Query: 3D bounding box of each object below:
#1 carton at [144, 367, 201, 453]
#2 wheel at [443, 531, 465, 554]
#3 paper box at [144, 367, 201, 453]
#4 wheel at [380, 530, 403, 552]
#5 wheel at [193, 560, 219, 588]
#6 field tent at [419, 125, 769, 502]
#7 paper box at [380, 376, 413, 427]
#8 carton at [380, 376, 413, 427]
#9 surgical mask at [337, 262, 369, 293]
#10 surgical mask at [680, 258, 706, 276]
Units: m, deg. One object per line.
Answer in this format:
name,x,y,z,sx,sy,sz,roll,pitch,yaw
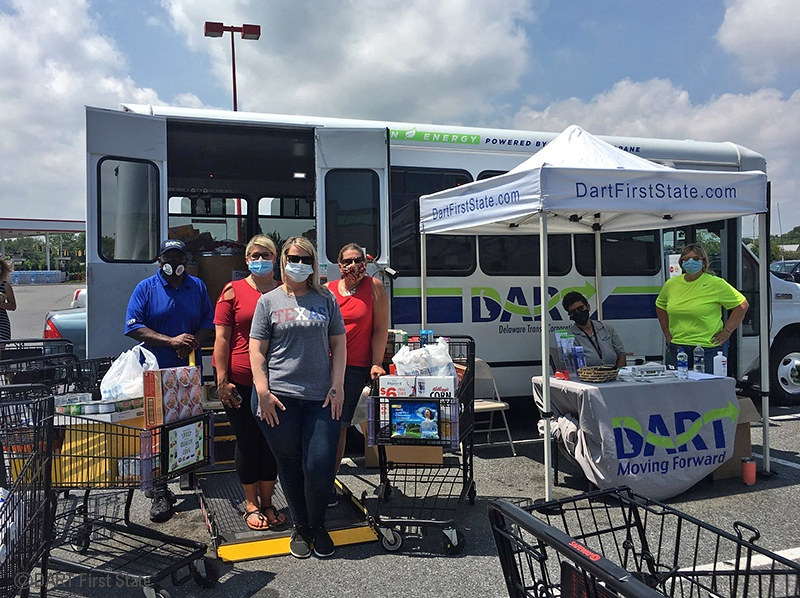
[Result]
carton,-1.668,0.832,4.952,0.194,0.533,0.578,-4,-3,25
wheel,0.437,1.948,5.474,0.181,0.199,0.099,-2,2,-8
paper box,-1.668,0.832,4.952,0.194,0.533,0.578,-4,-3,25
wheel,-0.075,1.942,5.470,0.154,0.170,0.068,0,-6,-4
wheel,-1.439,2.023,5.013,0.140,0.217,0.052,-11,-2,-16
field tent,2.537,-0.294,8.358,3.543,5.036,3.747,-2,2,-24
paper box,-0.011,0.795,5.614,0.422,0.461,0.326,0,0,2
carton,-0.018,0.794,5.610,0.422,0.461,0.326,0,0,2
surgical mask,-0.432,-0.194,6.185,0.216,0.173,0.283,-2,8,-15
surgical mask,3.218,-0.336,7.531,0.187,0.163,0.185,-4,-12,39
